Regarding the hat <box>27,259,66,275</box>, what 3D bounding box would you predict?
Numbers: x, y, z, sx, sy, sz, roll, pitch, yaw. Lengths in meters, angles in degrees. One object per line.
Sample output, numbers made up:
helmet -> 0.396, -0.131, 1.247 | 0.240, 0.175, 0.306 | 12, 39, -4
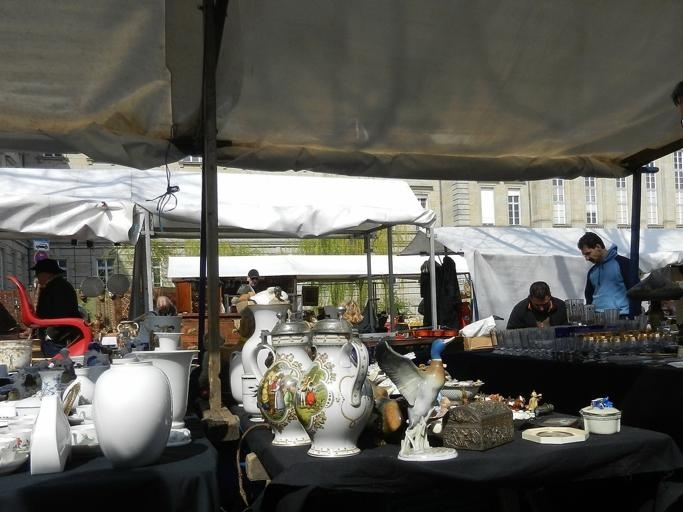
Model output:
hat -> -3.102, 0.106, 8.168 | 0.287, 0.135, 0.315 | -3, -4, 42

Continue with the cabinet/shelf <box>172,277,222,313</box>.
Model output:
cabinet/shelf -> -2.540, 0.658, 13.443 | 0.392, 0.589, 0.580 | -1, 6, 28

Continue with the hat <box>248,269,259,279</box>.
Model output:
hat -> -1.205, 0.239, 10.776 | 0.131, 0.089, 0.133 | 0, 2, -13

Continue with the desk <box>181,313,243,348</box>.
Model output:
desk -> -1.035, 0.608, 6.386 | 0.485, 0.475, 0.373 | 1, -8, -16

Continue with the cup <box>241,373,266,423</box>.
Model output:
cup -> -0.478, 0.777, 4.399 | 0.157, 0.271, 0.170 | -1, -6, 0

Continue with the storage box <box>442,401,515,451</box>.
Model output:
storage box -> 0.682, 0.831, 3.892 | 0.241, 0.197, 0.340 | -7, -6, 35
